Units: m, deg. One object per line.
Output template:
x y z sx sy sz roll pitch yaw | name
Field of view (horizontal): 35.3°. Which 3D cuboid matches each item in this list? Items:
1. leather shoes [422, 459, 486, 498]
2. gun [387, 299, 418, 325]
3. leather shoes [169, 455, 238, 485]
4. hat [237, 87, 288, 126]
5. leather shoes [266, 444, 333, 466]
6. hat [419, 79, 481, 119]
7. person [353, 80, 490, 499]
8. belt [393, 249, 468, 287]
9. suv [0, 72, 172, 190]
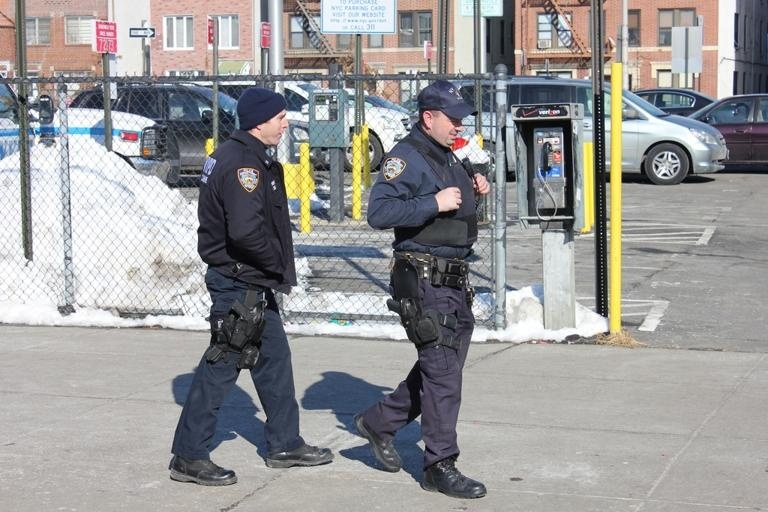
0.538 1.735 9.551 0.598 0.268 0.216 2 9 18 | leather shoes
0.171 0.430 9.604 0.240 0.171 0.176 13 -11 32 | gun
-1.438 1.723 9.746 0.582 0.254 0.203 2 4 1 | leather shoes
-0.966 -1.172 9.611 0.342 0.262 0.309 -10 19 -8 | hat
-0.687 1.648 9.994 0.560 0.234 0.197 -3 4 -7 | leather shoes
0.510 -1.224 9.547 0.424 0.203 0.263 8 24 17 | hat
0.335 0.263 9.532 0.950 3.116 1.040 0 16 2 | person
0.362 0.094 9.536 0.399 0.151 0.349 6 4 29 | belt
-4.546 -1.792 18.854 3.215 1.178 1.500 0 9 1 | suv
